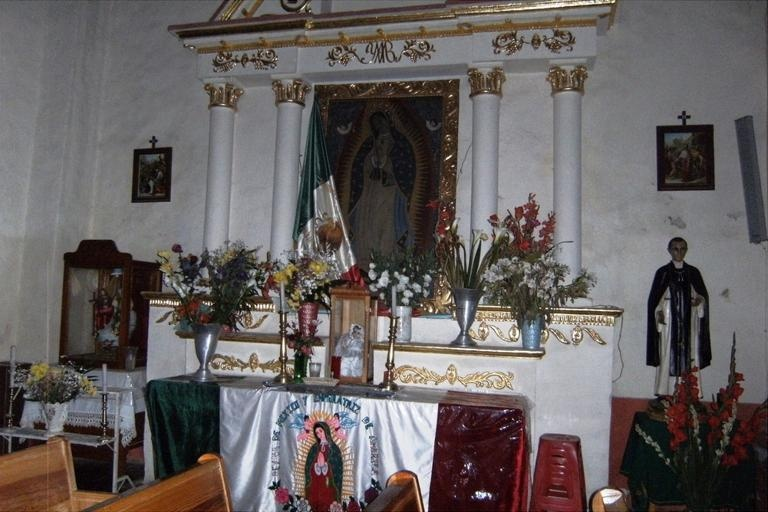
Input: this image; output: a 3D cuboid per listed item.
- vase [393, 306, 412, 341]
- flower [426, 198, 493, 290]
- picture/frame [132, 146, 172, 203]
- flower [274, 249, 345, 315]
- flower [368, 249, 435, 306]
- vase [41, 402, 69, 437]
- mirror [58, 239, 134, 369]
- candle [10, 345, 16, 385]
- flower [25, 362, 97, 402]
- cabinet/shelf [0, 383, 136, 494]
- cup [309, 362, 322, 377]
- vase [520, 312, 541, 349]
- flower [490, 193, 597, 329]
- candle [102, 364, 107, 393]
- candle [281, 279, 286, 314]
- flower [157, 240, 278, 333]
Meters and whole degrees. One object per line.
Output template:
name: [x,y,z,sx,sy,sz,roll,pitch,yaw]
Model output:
vase: [0.218,0.684,7.842,0.084,0.359,0.209,-2,-4,40]
flower: [0.814,0.053,7.963,0.691,0.882,0.629,-9,-24,34]
picture/frame: [-2.983,-1.039,10.056,0.676,0.864,0.056,0,-5,9]
flower: [-0.762,0.255,7.969,0.732,0.764,0.579,2,-3,-11]
flower: [0.192,0.212,7.846,0.565,0.629,0.581,1,-4,-3]
vase: [-3.387,1.676,8.001,0.374,0.404,0.275,7,-13,-27]
mirror: [-3.391,0.550,9.271,0.835,1.487,0.421,0,-3,24]
candle: [-3.803,1.126,7.961,0.036,0.443,0.354,2,-3,-27]
flower: [-3.448,1.311,8.255,0.674,0.500,0.685,-3,-6,3]
cabinet/shelf: [-3.117,1.801,7.765,1.042,0.982,0.521,-3,-18,6]
cup: [-0.673,1.114,7.606,0.124,0.147,0.125,2,-5,0]
vase: [1.459,0.748,7.648,0.274,0.323,0.282,-6,-11,34]
flower: [1.529,0.078,7.985,0.906,1.183,0.990,1,14,-35]
candle: [-2.845,1.247,7.922,0.024,0.328,0.406,2,-3,-16]
candle: [-0.995,0.413,7.667,0.077,0.306,0.321,1,-3,-8]
flower: [-1.696,0.214,8.084,1.013,1.092,0.995,2,35,-2]
